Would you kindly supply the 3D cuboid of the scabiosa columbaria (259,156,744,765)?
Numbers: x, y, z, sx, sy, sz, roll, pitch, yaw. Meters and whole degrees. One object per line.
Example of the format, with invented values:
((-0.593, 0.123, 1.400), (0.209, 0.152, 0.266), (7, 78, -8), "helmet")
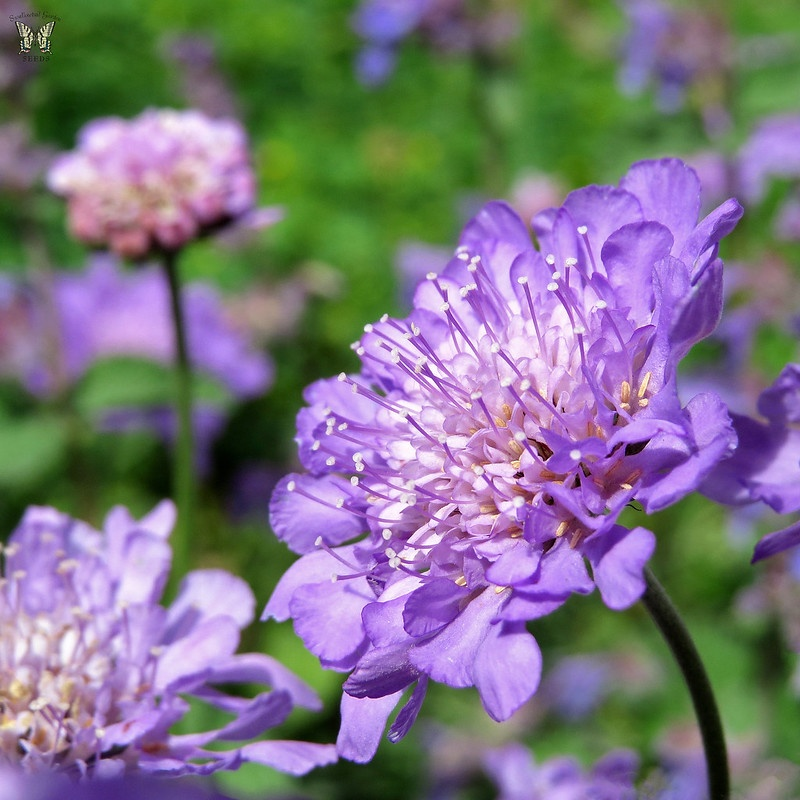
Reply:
((0.086, 0.029, 0.994), (0.453, 0.339, 0.585), (9, 56, 10), "scabiosa columbaria")

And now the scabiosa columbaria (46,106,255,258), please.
((-0.349, -0.315, 1.424), (0.231, 0.135, 0.207), (-18, 32, -22), "scabiosa columbaria")
